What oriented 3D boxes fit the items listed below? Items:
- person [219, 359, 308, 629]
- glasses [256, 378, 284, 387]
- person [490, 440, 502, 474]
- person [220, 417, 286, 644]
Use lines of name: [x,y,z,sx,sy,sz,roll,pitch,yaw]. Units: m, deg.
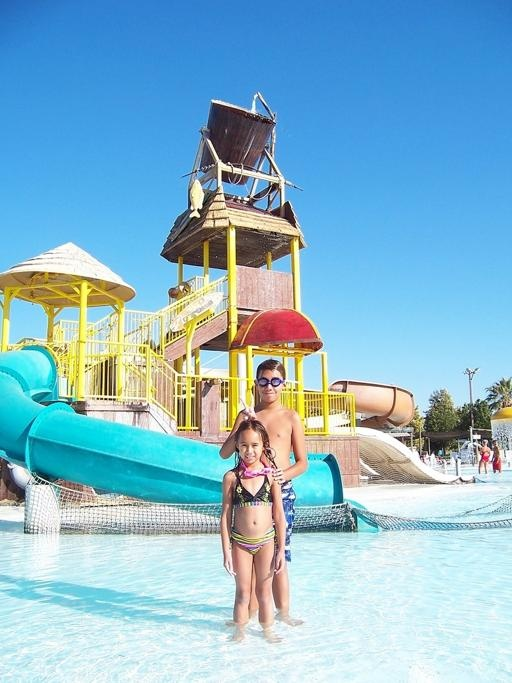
person: [0.031,0.832,3.293,0.458,1.406,0.438,1,2,6]
glasses: [0.073,0.224,3.273,0.137,0.052,0.058,-1,-10,-2]
person: [9.316,4.527,23.696,0.313,1.260,1.964,-5,-11,20]
person: [-0.015,0.915,2.958,0.299,1.031,0.465,-1,-10,0]
